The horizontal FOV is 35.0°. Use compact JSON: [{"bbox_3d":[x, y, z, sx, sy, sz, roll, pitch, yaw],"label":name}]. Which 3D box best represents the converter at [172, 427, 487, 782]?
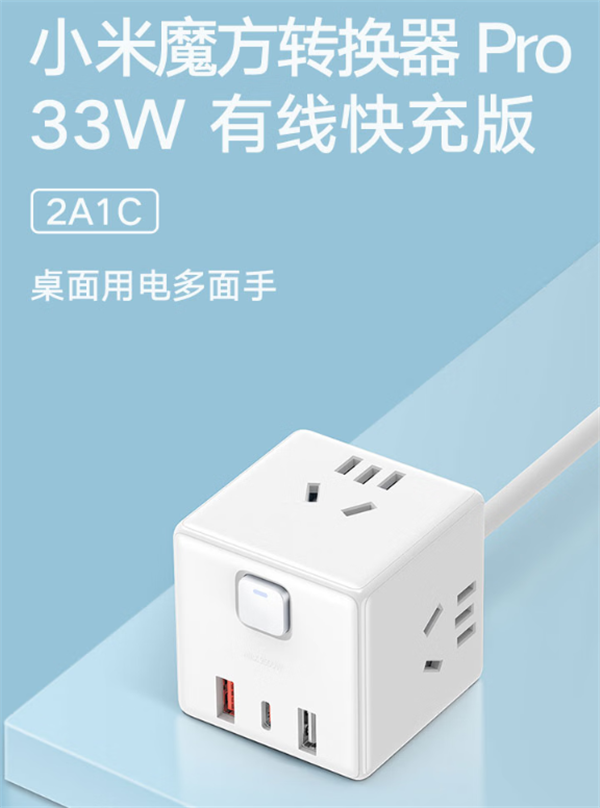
[{"bbox_3d":[0.015,0.162,0.876,0.240,0.253,0.250,16,28,34],"label":"converter"}]
